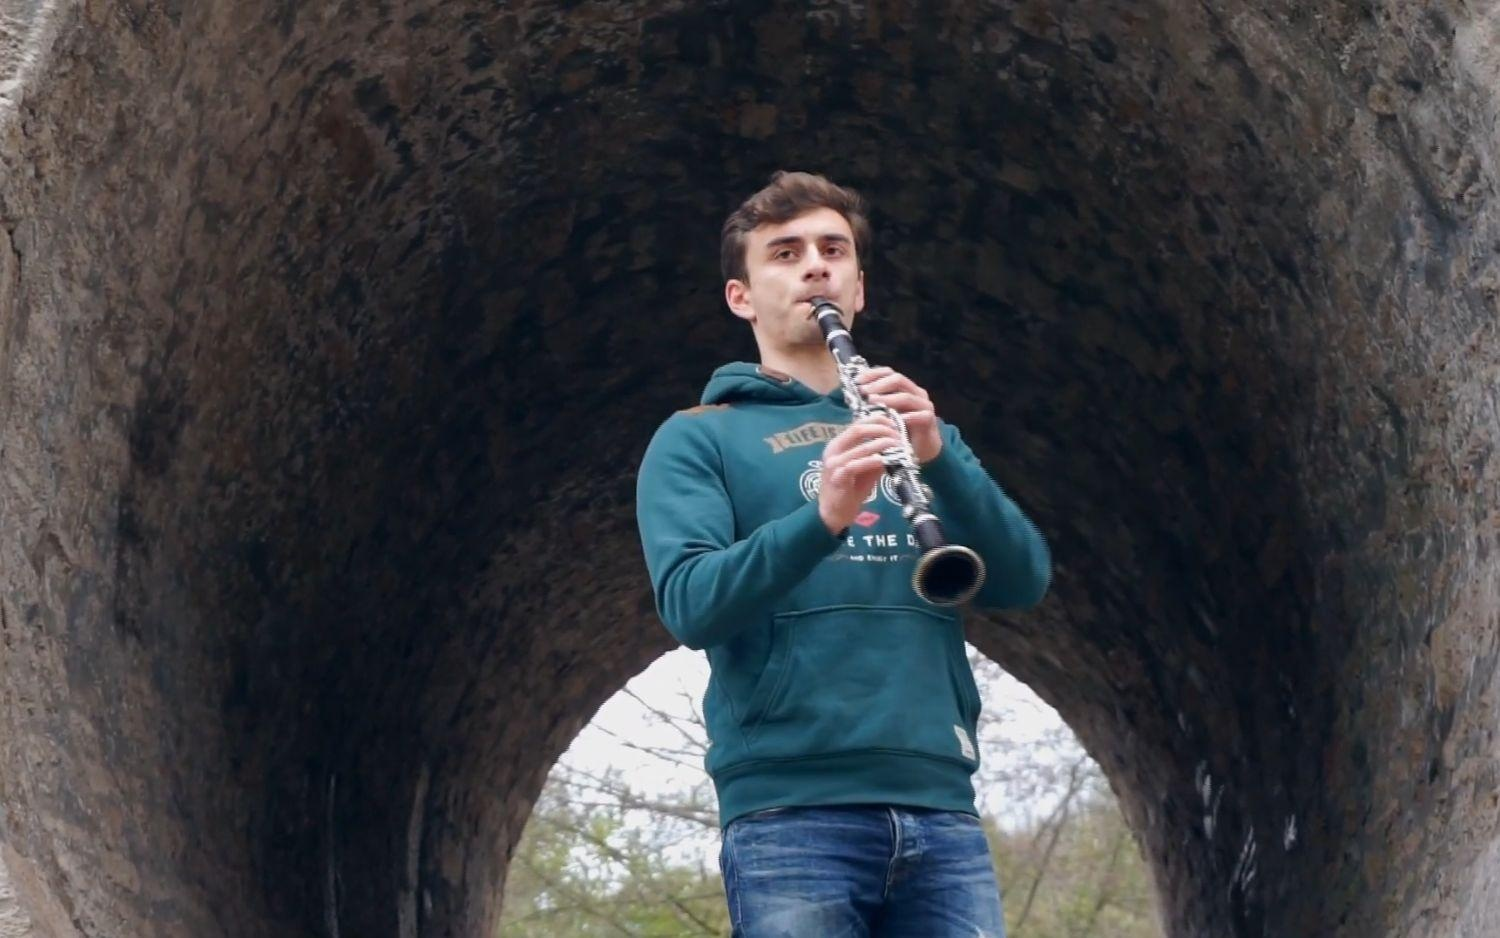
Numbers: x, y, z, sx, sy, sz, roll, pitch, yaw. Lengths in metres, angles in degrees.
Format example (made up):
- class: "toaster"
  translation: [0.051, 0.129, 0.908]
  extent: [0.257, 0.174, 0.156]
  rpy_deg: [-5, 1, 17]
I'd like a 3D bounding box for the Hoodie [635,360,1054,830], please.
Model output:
- class: "Hoodie"
  translation: [0.347, 0.337, 9.521]
  extent: [1.458, 1.577, 1.242]
  rpy_deg: [3, -18, -28]
